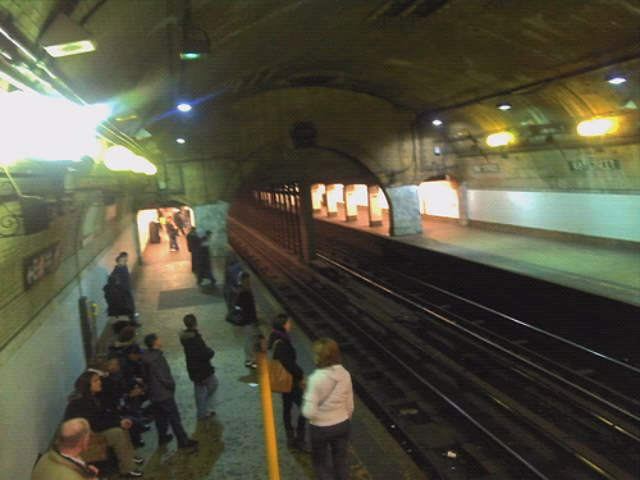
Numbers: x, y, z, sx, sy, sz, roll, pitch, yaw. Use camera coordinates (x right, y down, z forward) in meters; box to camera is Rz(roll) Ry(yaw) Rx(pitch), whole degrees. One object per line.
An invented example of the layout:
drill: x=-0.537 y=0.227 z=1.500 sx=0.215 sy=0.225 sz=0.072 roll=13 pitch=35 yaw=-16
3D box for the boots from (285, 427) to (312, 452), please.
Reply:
boots: x=-0.351 y=2.858 z=6.318 sx=0.482 sy=0.273 sz=0.171 roll=-3 pitch=1 yaw=-8

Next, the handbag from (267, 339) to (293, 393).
handbag: x=-0.494 y=1.622 z=5.380 sx=0.251 sy=0.524 sz=0.598 roll=-10 pitch=13 yaw=-7

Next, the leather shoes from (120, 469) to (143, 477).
leather shoes: x=-2.413 y=3.002 z=5.660 sx=0.280 sy=0.089 sz=0.085 roll=0 pitch=1 yaw=-12
